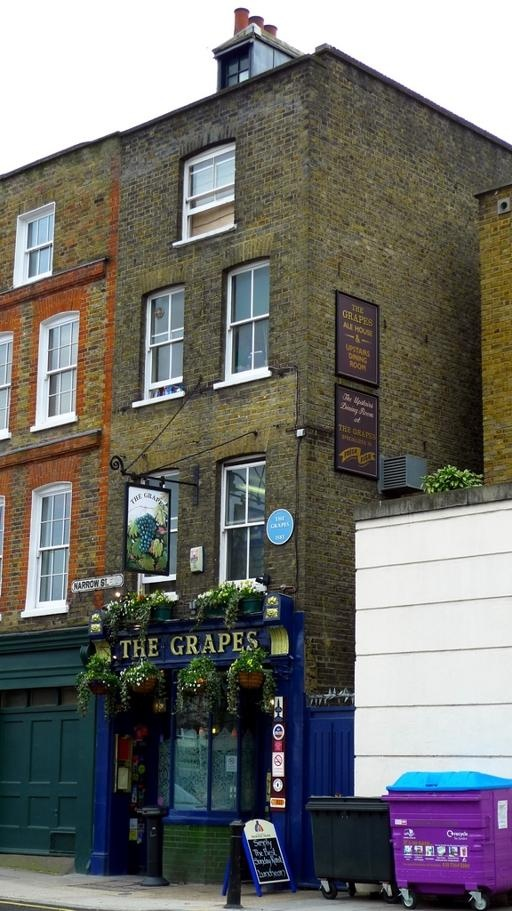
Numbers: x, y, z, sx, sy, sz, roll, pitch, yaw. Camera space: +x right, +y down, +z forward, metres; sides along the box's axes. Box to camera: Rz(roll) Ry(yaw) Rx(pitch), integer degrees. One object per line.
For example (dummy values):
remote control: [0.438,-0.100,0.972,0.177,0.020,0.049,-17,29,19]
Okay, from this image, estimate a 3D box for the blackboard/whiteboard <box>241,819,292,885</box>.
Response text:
blackboard/whiteboard: [0.121,4.751,15.853,0.243,0.788,0.819,-8,-13,30]

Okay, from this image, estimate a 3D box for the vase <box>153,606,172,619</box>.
vase: [-1.325,2.251,18.927,0.183,0.144,0.190,1,-16,-3]

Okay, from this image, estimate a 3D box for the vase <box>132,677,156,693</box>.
vase: [-1.567,3.251,18.815,0.327,0.197,0.444,-1,-12,-3]

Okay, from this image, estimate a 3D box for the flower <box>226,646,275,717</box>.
flower: [-0.116,3.012,17.527,0.746,1.088,0.818,-1,-9,8]

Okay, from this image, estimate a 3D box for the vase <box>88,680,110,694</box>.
vase: [-2.266,3.343,19.160,0.210,0.163,0.210,3,-8,-18]

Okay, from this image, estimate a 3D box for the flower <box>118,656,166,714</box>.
flower: [-1.607,3.280,19.005,0.742,0.817,0.794,2,-14,-9]

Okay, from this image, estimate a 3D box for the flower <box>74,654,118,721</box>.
flower: [-2.322,3.358,19.483,0.572,0.885,0.845,3,-12,-20]

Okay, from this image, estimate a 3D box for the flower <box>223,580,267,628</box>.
flower: [-0.129,1.964,17.746,0.566,0.595,0.470,-3,-11,4]

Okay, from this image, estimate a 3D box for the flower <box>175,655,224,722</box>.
flower: [-0.773,3.062,18.067,0.574,0.799,0.642,11,21,17]

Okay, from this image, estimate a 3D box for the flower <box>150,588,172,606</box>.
flower: [-1.347,2.061,19.111,0.366,0.238,0.342,1,-12,-13]

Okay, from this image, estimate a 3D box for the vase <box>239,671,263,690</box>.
vase: [-0.055,2.902,17.180,0.324,0.196,0.359,-2,-12,-1]
